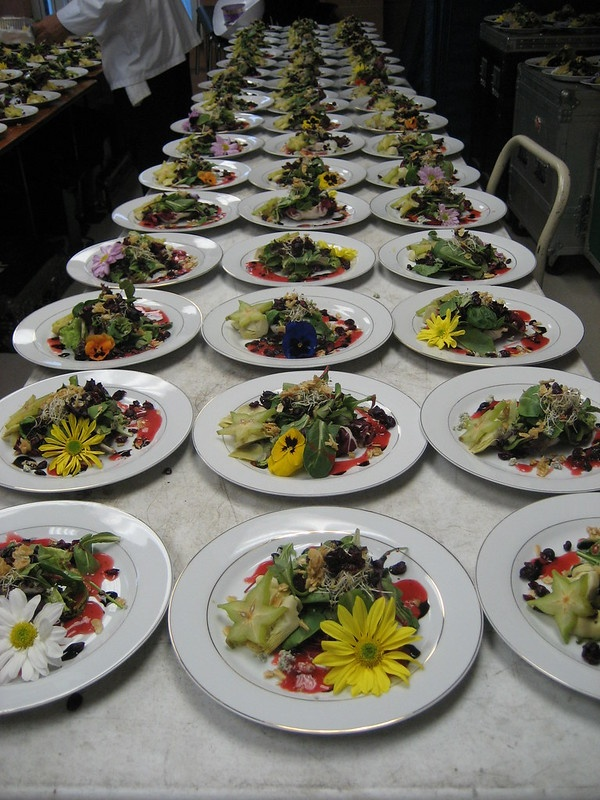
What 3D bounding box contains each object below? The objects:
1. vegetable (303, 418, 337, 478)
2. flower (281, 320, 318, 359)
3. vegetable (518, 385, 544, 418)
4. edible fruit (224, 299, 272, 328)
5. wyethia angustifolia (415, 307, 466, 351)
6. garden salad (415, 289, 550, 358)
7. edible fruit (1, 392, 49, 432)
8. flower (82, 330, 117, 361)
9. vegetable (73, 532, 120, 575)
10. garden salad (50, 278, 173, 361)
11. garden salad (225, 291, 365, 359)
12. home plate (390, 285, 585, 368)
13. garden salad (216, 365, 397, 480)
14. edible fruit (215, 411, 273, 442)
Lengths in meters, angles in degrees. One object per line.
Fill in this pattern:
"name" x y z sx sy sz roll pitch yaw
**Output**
"vegetable" 0.037 0.065 0.835 0.043 0.018 0.072 -2 63 0
"flower" 0.000 -0.105 1.117 0.063 0.064 0.026 -4 -7 1
"vegetable" 0.318 0.004 0.872 0.038 0.010 0.040 -1 61 46
"edible fruit" -0.095 -0.163 1.180 0.058 0.019 0.065 -11 29 33
"wyethia angustifolia" 0.252 -0.120 1.130 0.073 0.027 0.070 -7 59 36
"garden salad" 0.322 -0.134 1.145 0.175 0.046 0.162 -11 33 -18
"edible fruit" -0.412 0.018 0.947 0.045 0.016 0.063 -18 22 8
"flower" -0.357 -0.094 1.133 0.048 0.022 0.047 -7 44 -3
"vegetable" -0.237 0.170 0.712 0.046 0.011 0.043 0 41 1
"garden salad" -0.345 -0.126 1.175 0.197 0.060 0.178 -6 35 -6
"garden salad" -0.016 -0.174 1.135 0.171 0.057 0.169 -23 39 -37
"home plate" 0.365 -0.123 1.145 0.231 0.036 0.220 -15 30 -25
"garden salad" -0.002 0.029 0.878 0.185 0.035 0.166 8 34 18
"edible fruit" -0.082 0.024 0.875 0.056 0.016 0.055 11 40 27
